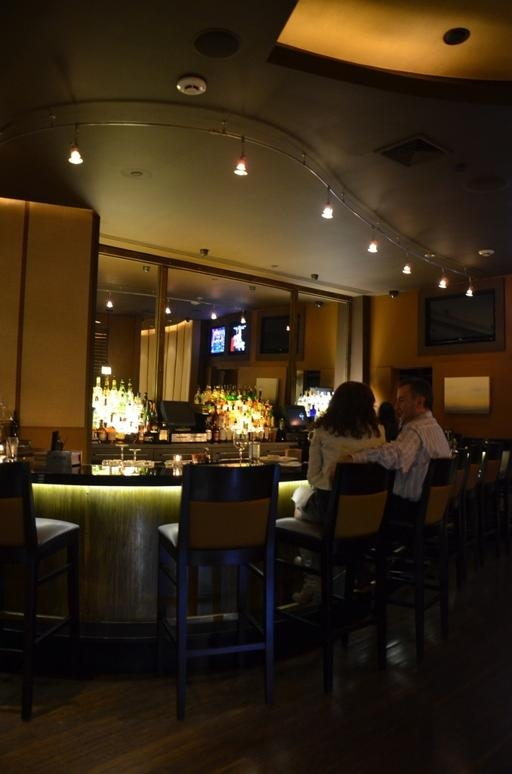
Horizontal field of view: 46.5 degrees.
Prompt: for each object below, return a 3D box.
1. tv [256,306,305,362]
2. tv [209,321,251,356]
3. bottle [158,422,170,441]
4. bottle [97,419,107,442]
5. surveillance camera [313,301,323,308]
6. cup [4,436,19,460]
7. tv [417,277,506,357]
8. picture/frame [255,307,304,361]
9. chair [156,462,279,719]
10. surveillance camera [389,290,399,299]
[{"bbox_3d":[0.407,-0.828,9.342,0.821,0.939,0.087,-3,-7,45],"label":"tv"},{"bbox_3d":[-0.425,-0.820,10.128,0.040,0.444,0.559,15,-16,-41],"label":"tv"},{"bbox_3d":[-0.896,0.449,5.771,0.103,0.224,0.111,-1,1,0],"label":"bottle"},{"bbox_3d":[-1.460,0.413,5.660,0.090,0.198,0.346,2,-3,-15],"label":"bottle"},{"bbox_3d":[0.984,-1.319,9.451,0.087,0.111,0.091,2,5,10],"label":"surveillance camera"},{"bbox_3d":[-1.362,0.340,3.317,0.064,0.121,0.264,2,-3,-23],"label":"cup"},{"bbox_3d":[2.752,-0.944,7.882,0.101,0.756,0.878,-2,3,-41],"label":"tv"},{"bbox_3d":[0.394,-0.818,9.335,0.786,1.026,0.097,-2,-7,41],"label":"picture/frame"},{"bbox_3d":[-0.163,0.823,2.716,0.561,1.000,0.784,2,-3,-10],"label":"chair"},{"bbox_3d":[1.978,-1.349,8.581,0.099,0.095,0.093,-2,-8,16],"label":"surveillance camera"}]
